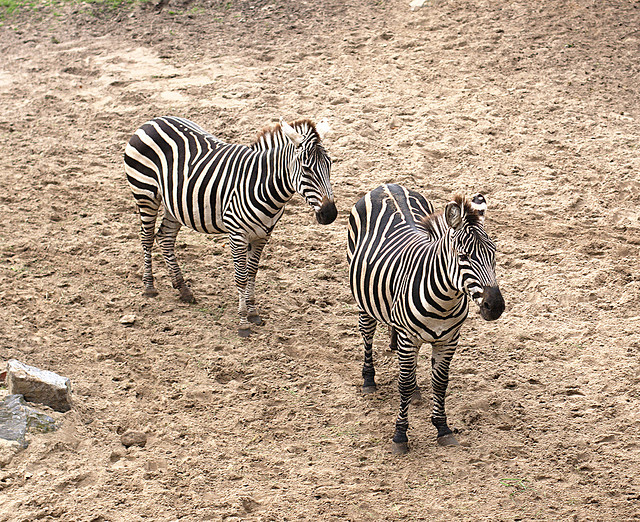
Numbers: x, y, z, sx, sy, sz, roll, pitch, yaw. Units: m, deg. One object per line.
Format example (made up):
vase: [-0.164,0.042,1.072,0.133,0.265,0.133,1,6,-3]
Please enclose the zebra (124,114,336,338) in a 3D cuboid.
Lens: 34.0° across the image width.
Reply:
zebra: [-1.125,-0.527,12.922,1.093,2.370,3.803,-5,12,-41]
